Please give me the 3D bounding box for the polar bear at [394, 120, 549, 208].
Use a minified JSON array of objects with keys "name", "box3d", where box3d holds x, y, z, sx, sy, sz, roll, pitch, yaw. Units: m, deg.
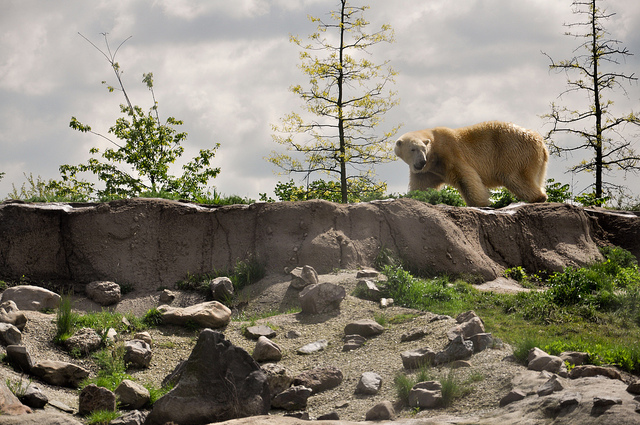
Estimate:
[{"name":"polar bear","box3d":[4.654,-1.411,33.433,4.189,2.557,1.189,-1,-14,-11]}]
